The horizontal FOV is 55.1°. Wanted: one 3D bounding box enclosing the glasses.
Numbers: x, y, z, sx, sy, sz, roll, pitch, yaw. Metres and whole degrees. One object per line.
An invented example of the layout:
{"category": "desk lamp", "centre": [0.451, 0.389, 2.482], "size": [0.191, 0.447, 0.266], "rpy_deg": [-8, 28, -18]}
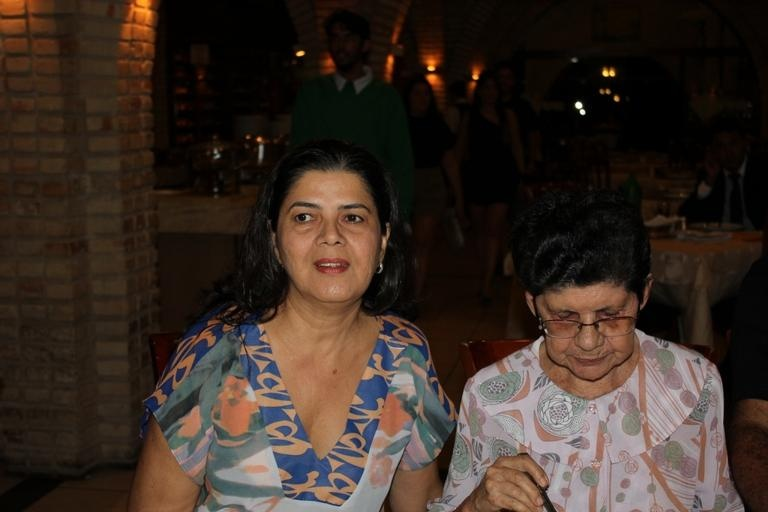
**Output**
{"category": "glasses", "centre": [0.630, 0.215, 2.278], "size": [0.292, 0.076, 0.096], "rpy_deg": [0, 0, 16]}
